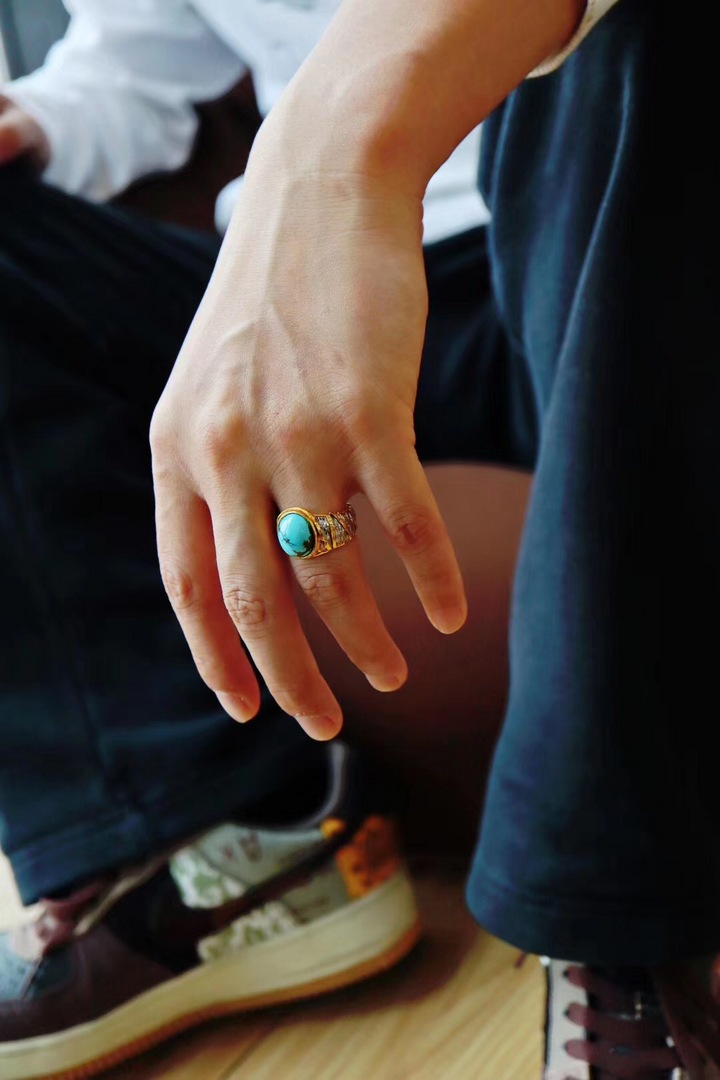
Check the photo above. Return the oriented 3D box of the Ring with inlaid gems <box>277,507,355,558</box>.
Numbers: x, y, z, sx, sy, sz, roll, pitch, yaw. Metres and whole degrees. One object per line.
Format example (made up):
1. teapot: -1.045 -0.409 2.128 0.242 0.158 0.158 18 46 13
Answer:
1. Ring with inlaid gems: -0.028 -0.005 0.570 0.030 0.021 0.037 -5 9 22
